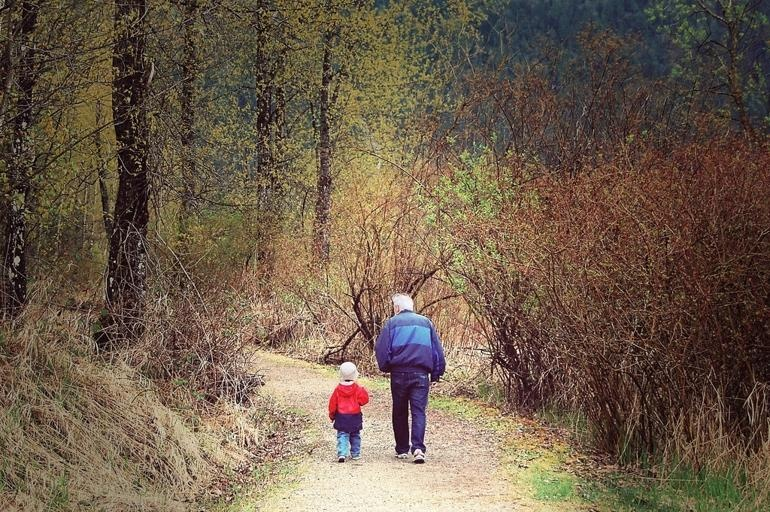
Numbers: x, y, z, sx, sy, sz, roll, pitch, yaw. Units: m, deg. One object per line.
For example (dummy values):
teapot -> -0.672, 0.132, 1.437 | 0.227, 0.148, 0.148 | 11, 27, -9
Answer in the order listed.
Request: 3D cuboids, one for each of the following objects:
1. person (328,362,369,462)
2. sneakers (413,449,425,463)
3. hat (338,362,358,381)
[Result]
person -> -0.602, 2.522, 15.236 | 0.599, 1.609, 0.813 | 9, 11, 38
sneakers -> 0.562, 3.253, 15.067 | 0.101, 0.139, 0.253 | 1, -1, -2
hat -> -0.607, 1.851, 15.244 | 0.243, 0.376, 0.206 | -19, -50, -4
